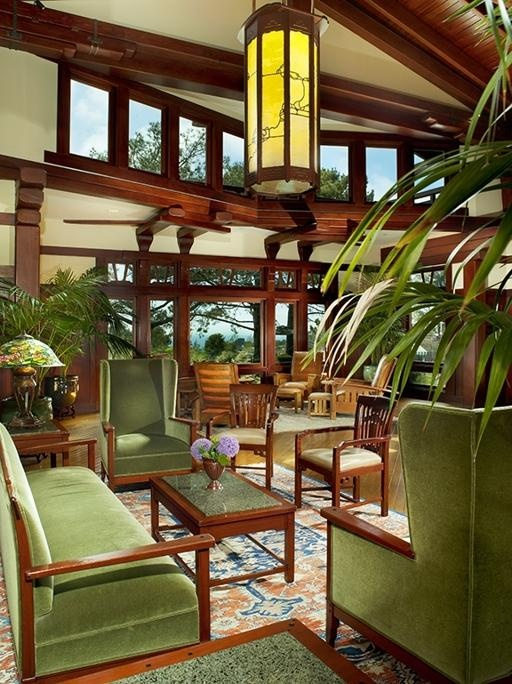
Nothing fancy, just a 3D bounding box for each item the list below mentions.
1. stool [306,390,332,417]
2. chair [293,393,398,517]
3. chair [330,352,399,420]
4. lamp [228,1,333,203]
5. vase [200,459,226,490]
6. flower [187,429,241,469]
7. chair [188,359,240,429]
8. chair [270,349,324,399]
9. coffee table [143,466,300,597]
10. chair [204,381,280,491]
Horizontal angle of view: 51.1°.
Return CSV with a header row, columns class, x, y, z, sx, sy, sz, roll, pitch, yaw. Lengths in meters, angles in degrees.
class,x,y,z,sx,sy,sz,roll,pitch,yaw
stool,0.958,0.927,8.202,0.343,0.249,0.523,-1,2,1
chair,0.646,0.822,3.916,0.707,0.805,0.699,-1,0,-1
chair,1.589,0.706,8.124,0.904,0.935,0.701,0,-4,10
lamp,0.164,-1.376,3.051,0.490,0.991,0.341,-2,2,-1
vase,-0.243,0.754,3.098,0.169,0.194,0.164,0,-4,-6
flower,-0.231,0.598,3.126,0.309,0.205,0.233,7,2,28
chair,-0.549,0.616,6.791,0.711,1.036,0.788,0,0,11
chair,0.707,0.615,9.055,0.702,0.874,0.677,0,-5,21
coffee table,-0.232,1.027,3.034,0.561,0.407,0.922,-1,1,-23
chair,-0.108,0.797,4.684,0.677,0.813,0.712,1,0,-21
